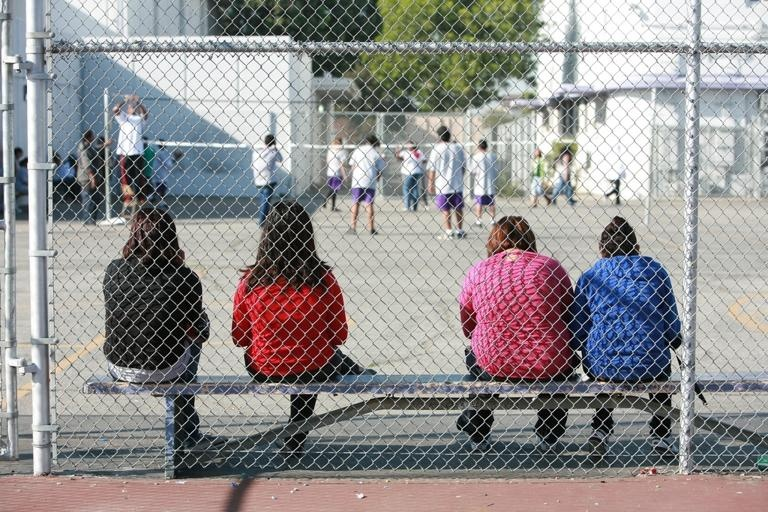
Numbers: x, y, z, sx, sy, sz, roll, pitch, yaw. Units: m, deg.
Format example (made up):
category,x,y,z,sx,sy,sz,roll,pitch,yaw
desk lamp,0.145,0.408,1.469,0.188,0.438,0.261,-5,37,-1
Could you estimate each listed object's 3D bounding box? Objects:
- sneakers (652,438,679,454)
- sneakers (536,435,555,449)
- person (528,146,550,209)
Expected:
category,x,y,z,sx,sy,sz,roll,pitch,yaw
sneakers,3.585,2.403,21.704,0.393,0.164,0.144,3,-18,11
sneakers,2.076,2.375,21.847,0.183,0.200,0.208,0,-7,-5
person,3.558,-1.864,38.540,0.575,1.591,0.535,6,38,15
